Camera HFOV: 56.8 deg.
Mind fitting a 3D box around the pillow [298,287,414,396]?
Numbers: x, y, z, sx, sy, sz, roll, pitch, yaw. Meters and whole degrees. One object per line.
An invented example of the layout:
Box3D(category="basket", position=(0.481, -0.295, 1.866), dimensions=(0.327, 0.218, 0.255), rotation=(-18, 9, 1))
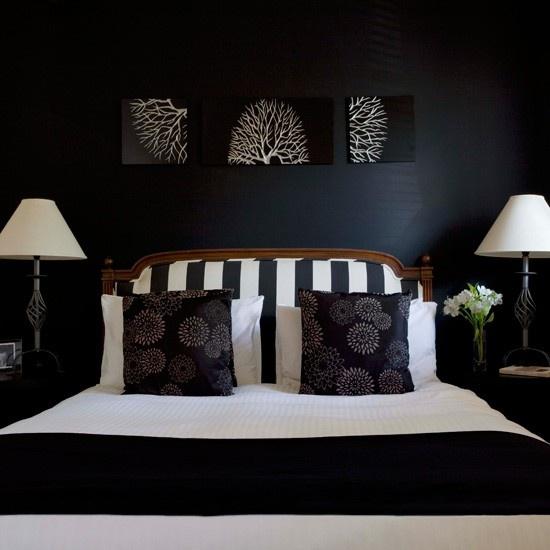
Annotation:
Box3D(category="pillow", position=(0.353, 0.319, 2.233), dimensions=(0.464, 0.509, 0.199), rotation=(2, -21, 7))

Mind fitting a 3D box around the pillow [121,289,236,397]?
Box3D(category="pillow", position=(-0.430, 0.321, 2.221), dimensions=(0.467, 0.523, 0.183), rotation=(2, -29, -15))
